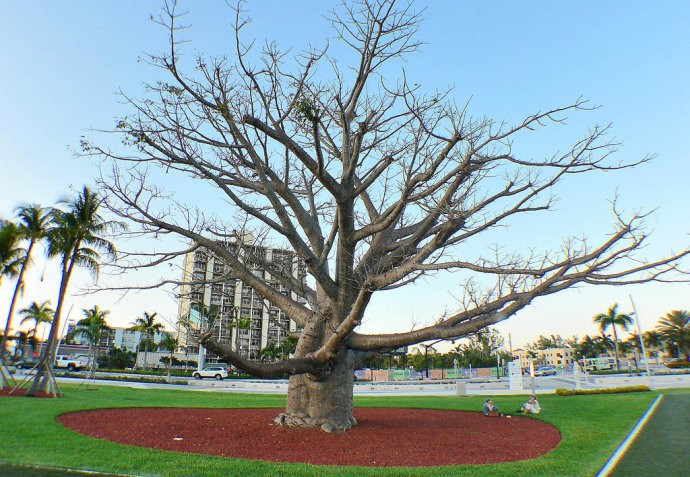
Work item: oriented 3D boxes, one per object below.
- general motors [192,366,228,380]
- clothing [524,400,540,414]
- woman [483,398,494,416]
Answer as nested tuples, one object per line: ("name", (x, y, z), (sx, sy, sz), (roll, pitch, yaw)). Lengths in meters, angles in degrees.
("general motors", (-15.430, 15.152, 50.467), (3.593, 1.301, 1.668), (3, -17, 6))
("clothing", (8.111, 7.355, 19.578), (0.670, 0.525, 0.539), (-6, -19, 19))
("woman", (6.353, 7.437, 19.783), (0.481, 0.682, 1.126), (-5, -19, 18))
